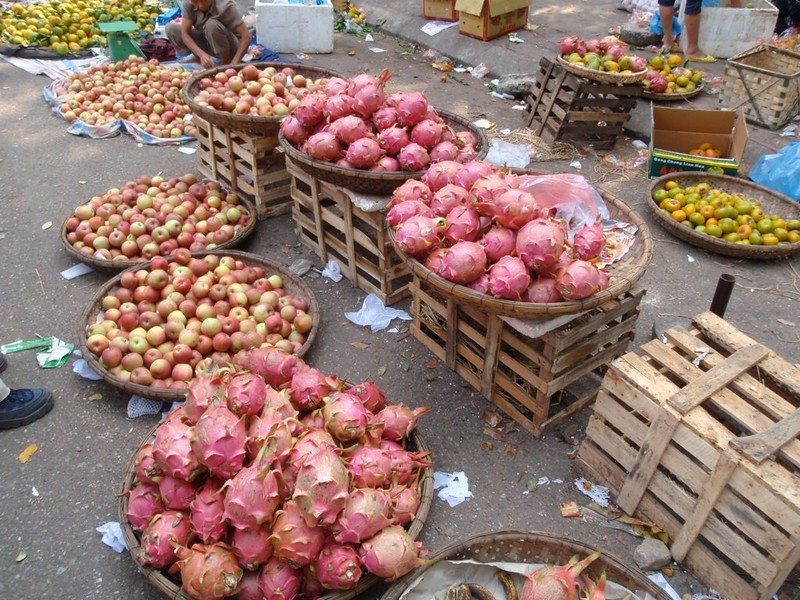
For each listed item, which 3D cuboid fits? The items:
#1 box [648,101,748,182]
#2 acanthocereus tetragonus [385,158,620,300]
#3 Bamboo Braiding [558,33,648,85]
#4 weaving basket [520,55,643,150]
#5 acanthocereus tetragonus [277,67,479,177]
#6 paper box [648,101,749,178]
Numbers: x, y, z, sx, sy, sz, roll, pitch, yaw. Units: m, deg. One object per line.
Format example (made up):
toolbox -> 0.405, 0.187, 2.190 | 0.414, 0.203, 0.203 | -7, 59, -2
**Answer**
box -> 3.038, -1.579, 6.230 | 0.905, 0.578, 0.928 | 9, 48, 12
acanthocereus tetragonus -> 0.648, -0.378, 3.785 | 1.113, 0.461, 1.074 | 6, 43, 6
Bamboo Braiding -> 2.209, -2.619, 6.654 | 0.726, 0.235, 0.770 | -23, 43, -27
weaving basket -> 2.310, -2.427, 7.114 | 1.301, 0.743, 1.247 | -34, 25, -29
acanthocereus tetragonus -> -0.251, -1.315, 4.673 | 1.018, 0.446, 1.104 | -5, 27, -18
paper box -> 2.960, -1.565, 6.169 | 0.992, 0.512, 1.010 | 24, 47, 32
